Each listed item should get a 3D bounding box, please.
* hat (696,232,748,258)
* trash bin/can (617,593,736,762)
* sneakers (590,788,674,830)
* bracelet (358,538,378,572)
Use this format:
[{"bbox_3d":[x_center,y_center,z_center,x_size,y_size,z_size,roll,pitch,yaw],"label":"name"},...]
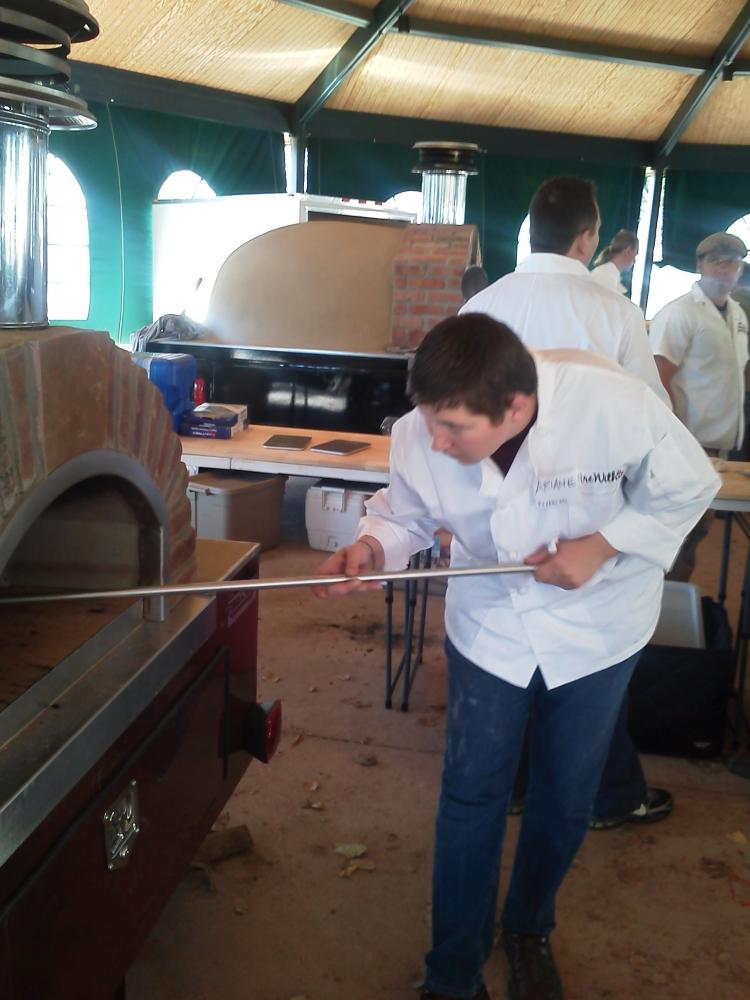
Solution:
[{"bbox_3d":[1.766,-1.297,4.036,0.277,0.139,0.203,-6,16,-31],"label":"hat"},{"bbox_3d":[0.932,0.549,2.727,0.497,0.467,0.473,2,9,9],"label":"trash bin/can"},{"bbox_3d":[0.739,0.890,2.347,0.305,0.121,0.101,4,-3,-34],"label":"sneakers"},{"bbox_3d":[-0.005,0.104,1.519,0.042,0.049,0.049,2,46,6],"label":"bracelet"}]
